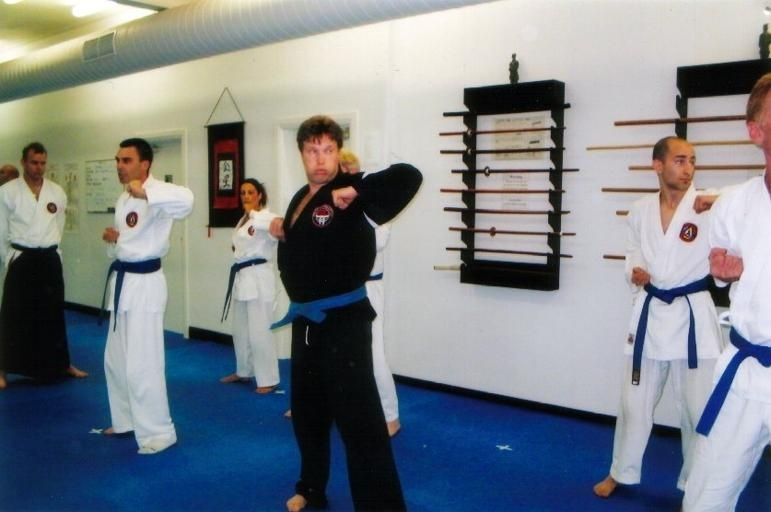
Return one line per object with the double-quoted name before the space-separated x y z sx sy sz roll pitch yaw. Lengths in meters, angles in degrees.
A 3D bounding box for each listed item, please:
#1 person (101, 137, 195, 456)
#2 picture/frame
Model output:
"person" -1.771 0.257 4.504 0.706 2.187 0.801 -13 18 -42
"picture/frame" -0.644 -1.100 6.182 0.968 0.117 1.310 -12 47 -4
